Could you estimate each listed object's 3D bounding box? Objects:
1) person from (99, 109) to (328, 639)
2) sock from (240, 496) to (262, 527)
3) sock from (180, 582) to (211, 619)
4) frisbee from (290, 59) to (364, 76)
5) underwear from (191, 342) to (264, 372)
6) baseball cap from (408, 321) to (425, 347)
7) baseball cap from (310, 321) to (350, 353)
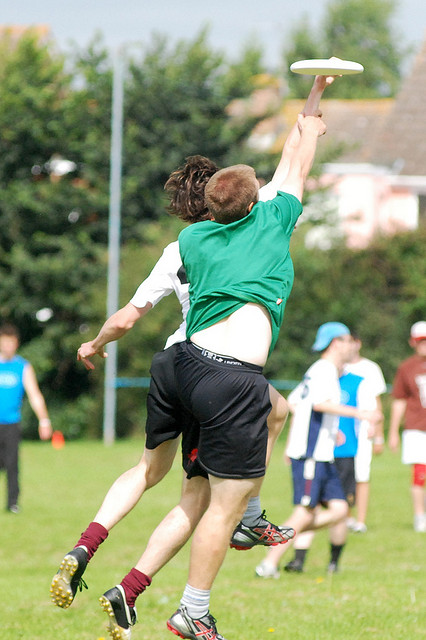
[{"bbox_3d":[-0.006,0.204,3.795,0.779,1.648,0.574,3,-2,9],"label":"person"},{"bbox_3d":[0.182,0.905,4.180,0.105,0.104,0.085,4,-2,-13],"label":"sock"},{"bbox_3d":[-0.077,1.182,3.719,0.117,0.114,0.110,3,-2,-5],"label":"sock"},{"bbox_3d":[0.502,-1.117,3.954,0.306,0.048,0.173,2,-2,5],"label":"frisbee"},{"bbox_3d":[0.049,0.152,3.609,0.304,0.082,0.143,3,-2,2],"label":"underwear"},{"bbox_3d":[1.077,0.075,4.695,0.057,0.130,0.141,4,-2,-15],"label":"baseball cap"},{"bbox_3d":[0.843,0.132,6.086,0.270,0.135,0.167,-36,13,-6],"label":"baseball cap"}]
